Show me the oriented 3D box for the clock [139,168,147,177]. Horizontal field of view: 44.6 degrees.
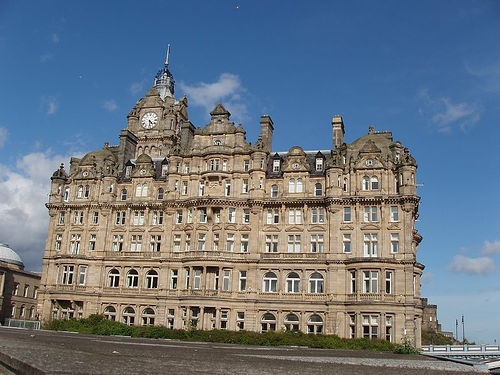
[{"bbox_3d":[-16.127,-2.247,91.540,1.129,1.100,1.126,-7,-8,15],"label":"clock"}]
